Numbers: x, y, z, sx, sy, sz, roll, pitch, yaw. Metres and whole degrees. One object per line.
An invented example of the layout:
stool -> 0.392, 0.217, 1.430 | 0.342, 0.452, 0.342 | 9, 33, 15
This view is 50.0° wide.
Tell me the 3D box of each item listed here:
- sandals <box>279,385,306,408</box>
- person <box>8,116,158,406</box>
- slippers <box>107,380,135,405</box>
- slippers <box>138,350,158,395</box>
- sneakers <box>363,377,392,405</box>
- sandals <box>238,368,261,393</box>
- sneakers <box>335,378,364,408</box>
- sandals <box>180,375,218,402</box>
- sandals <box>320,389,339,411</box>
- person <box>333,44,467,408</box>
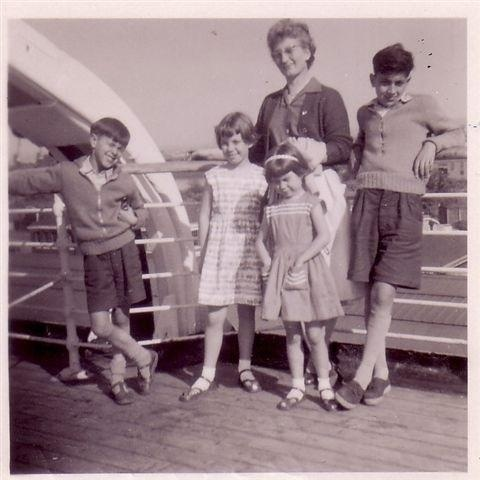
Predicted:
sandals -> 0.262, 0.777, 2.549 | 0.060, 0.077, 0.154 | -1, 4, 38
person -> -0.776, 0.108, 2.760 | 0.570, 1.478, 0.364 | 0, 8, 12
slippers -> -0.615, 0.795, 2.680 | 0.068, 0.090, 0.182 | -4, -3, -31
slippers -> -0.504, 0.723, 2.828 | 0.082, 0.246, 0.075 | 0, 4, -38
sneakers -> 0.698, 0.757, 2.593 | 0.069, 0.107, 0.214 | -3, -1, 26
sandals -> 0.050, 0.774, 2.805 | 0.053, 0.079, 0.165 | -4, -2, -16
sneakers -> 0.549, 0.767, 2.511 | 0.181, 0.133, 0.065 | -8, 10, -31
sandals -> -0.212, 0.786, 2.737 | 0.068, 0.099, 0.238 | -3, -1, 34
sandals -> 0.445, 0.785, 2.529 | 0.040, 0.055, 0.125 | -1, 14, 1
person -> 0.721, -0.077, 2.627 | 0.639, 1.772, 0.428 | -4, 8, -13
